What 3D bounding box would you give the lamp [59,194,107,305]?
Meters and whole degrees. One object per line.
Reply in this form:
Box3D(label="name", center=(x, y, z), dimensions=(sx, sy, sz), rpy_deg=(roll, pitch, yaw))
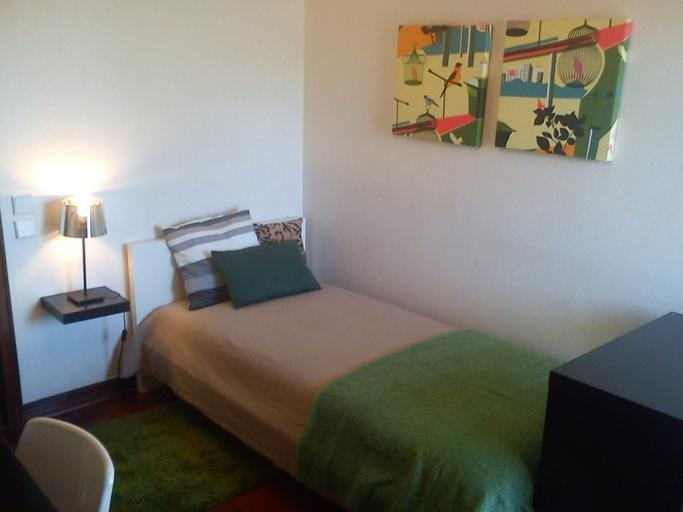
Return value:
Box3D(label="lamp", center=(-1.533, -0.041, 3.112), dimensions=(0.278, 0.616, 0.259), rpy_deg=(-17, 19, -38))
